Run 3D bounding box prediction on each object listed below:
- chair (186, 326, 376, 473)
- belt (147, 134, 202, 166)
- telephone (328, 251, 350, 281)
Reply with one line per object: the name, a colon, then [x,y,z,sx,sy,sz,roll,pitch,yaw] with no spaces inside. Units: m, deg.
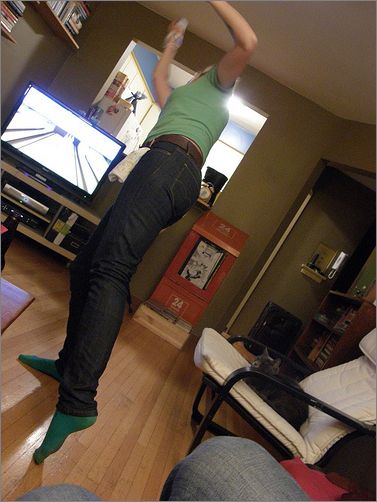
chair: [0.433,0.592,1.567,0.706,0.492,0.454,14,-3,-2]
belt: [-0.033,-0.337,1.155,0.109,0.032,0.106,17,-18,18]
telephone: [1.790,0.163,4.307,0.106,0.427,0.131,34,15,4]
